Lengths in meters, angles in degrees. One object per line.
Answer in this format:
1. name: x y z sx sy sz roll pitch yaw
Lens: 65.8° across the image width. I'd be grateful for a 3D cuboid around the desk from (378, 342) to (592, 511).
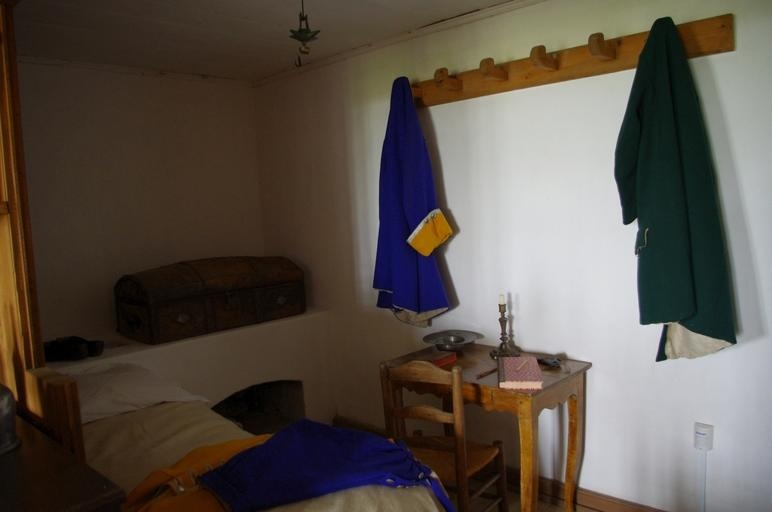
1. desk: 0.508 0.719 3.568 1.284 1.265 0.836 0 3 44
